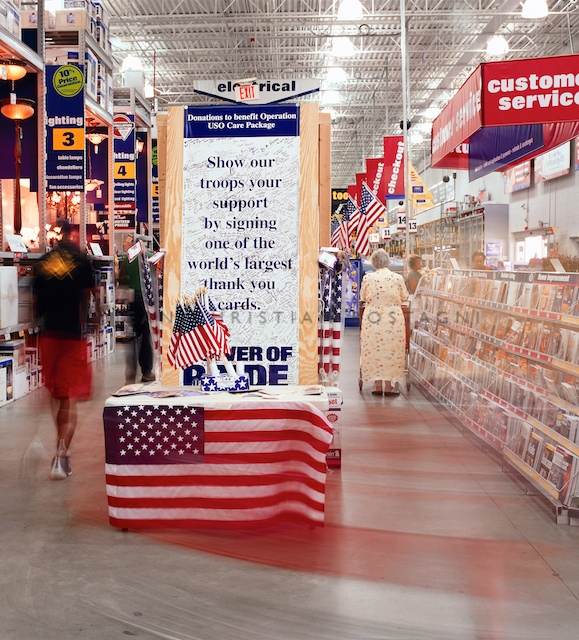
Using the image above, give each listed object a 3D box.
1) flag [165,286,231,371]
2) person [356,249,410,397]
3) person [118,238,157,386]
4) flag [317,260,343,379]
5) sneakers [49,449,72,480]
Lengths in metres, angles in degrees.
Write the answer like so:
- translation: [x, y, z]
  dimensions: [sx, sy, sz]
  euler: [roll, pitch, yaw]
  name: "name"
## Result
- translation: [-0.476, 0.065, 2.830]
  dimensions: [0.293, 0.354, 0.152]
  euler: [1, -1, -13]
  name: "flag"
- translation: [1.149, 0.048, 6.732]
  dimensions: [0.582, 1.737, 0.914]
  euler: [0, -1, 11]
  name: "person"
- translation: [-1.694, -0.086, 6.595]
  dimensions: [0.415, 1.618, 0.347]
  euler: [-2, 15, -5]
  name: "person"
- translation: [0.283, 0.009, 3.863]
  dimensions: [0.165, 0.886, 0.141]
  euler: [0, -1, 3]
  name: "flag"
- translation: [-1.498, 0.966, 3.573]
  dimensions: [0.079, 0.096, 0.221]
  euler: [1, 4, -5]
  name: "sneakers"
